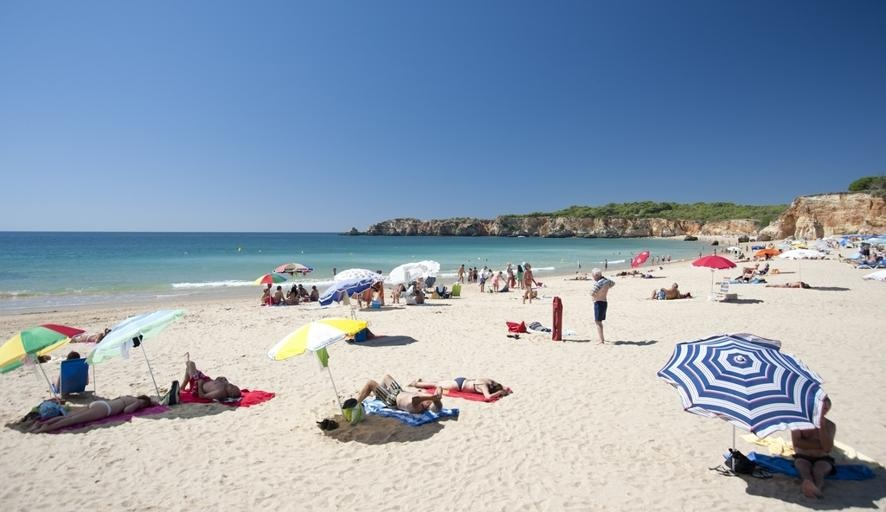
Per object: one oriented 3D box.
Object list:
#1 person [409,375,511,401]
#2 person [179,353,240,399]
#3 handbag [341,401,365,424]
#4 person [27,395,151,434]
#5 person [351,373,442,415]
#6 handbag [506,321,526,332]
[{"bbox_3d":[0.711,3.872,17.234,2.062,0.286,1.043,-1,0,12],"label":"person"},{"bbox_3d":[-7.215,3.768,18.239,2.043,0.978,0.874,0,-11,8],"label":"person"},{"bbox_3d":[-2.463,4.276,16.316,0.613,0.564,0.687,-5,4,-30],"label":"handbag"},{"bbox_3d":[-9.779,4.390,16.480,3.176,0.537,0.970,-7,20,-36],"label":"person"},{"bbox_3d":[-1.303,3.809,16.643,2.529,0.827,0.841,11,13,17],"label":"person"},{"bbox_3d":[2.758,2.646,21.976,0.699,0.335,0.607,-1,4,4],"label":"handbag"}]
